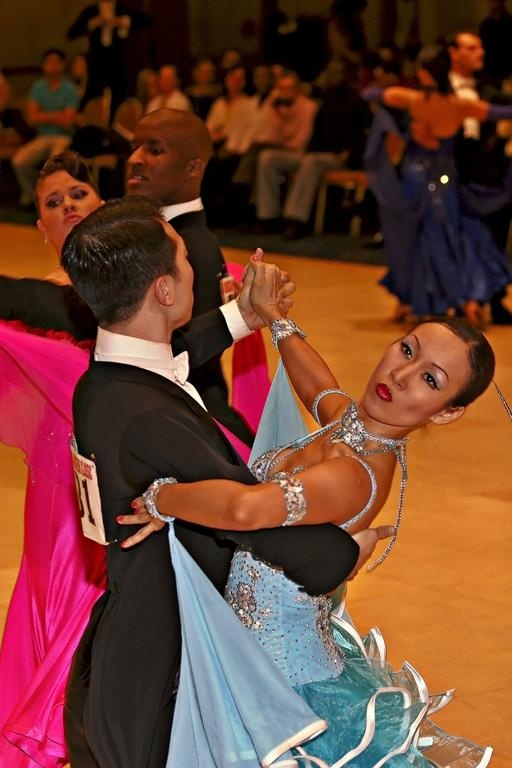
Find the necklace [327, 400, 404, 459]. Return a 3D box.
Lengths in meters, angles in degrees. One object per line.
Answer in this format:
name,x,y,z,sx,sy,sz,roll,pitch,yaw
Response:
necklace,0.203,0.107,1.297,0.130,0.070,0.093,34,1,-35

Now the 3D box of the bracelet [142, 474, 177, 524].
bracelet,-0.162,0.184,1.050,0.067,0.068,0.034,-14,19,-41

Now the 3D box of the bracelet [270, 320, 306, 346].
bracelet,0.066,-0.128,1.560,0.058,0.067,0.042,-8,3,-9

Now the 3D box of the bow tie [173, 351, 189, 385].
bow tie,-0.145,-0.031,1.257,0.019,0.040,0.058,-25,34,26
